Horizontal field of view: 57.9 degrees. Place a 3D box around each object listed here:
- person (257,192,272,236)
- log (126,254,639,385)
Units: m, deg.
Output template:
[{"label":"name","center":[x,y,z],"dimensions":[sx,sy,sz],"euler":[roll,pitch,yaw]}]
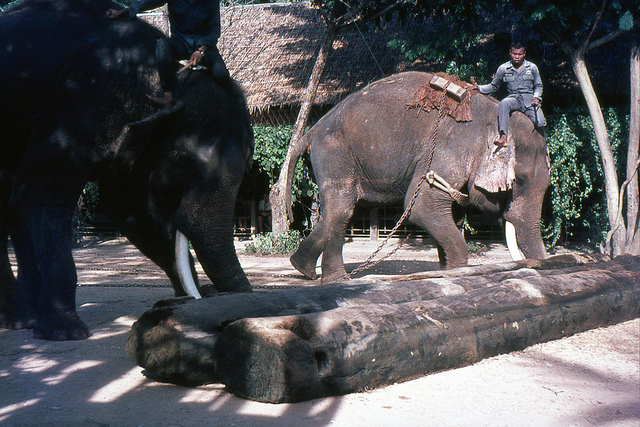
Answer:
[{"label":"person","center":[-1.366,-0.015,14.060],"dimensions":[0.317,0.984,0.492],"euler":[0,6,-7]},{"label":"log","center":[0.681,0.886,4.803],"dimensions":[4.564,0.591,0.837],"euler":[1,-8,-41]}]
